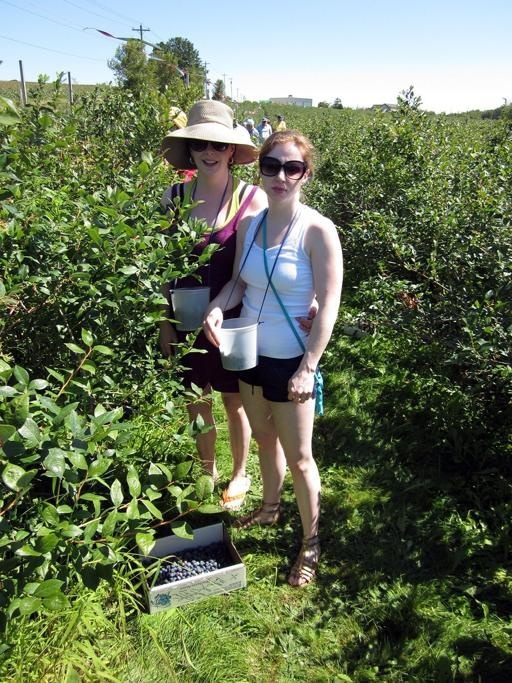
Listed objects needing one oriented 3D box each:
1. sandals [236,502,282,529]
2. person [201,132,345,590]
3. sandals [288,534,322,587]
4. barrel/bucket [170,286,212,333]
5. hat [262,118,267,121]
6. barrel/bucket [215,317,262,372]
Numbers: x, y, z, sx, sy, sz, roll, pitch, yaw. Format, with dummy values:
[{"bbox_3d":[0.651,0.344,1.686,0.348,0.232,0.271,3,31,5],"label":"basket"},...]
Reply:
[{"bbox_3d":[0.015,0.901,2.677,0.291,0.108,0.092,-12,32,-1],"label":"sandals"},{"bbox_3d":[0.103,0.121,2.209,0.474,1.924,0.294,14,16,33],"label":"person"},{"bbox_3d":[0.225,0.996,2.362,0.096,0.107,0.263,-5,0,17],"label":"sandals"},{"bbox_3d":[-0.272,-0.141,2.373,0.213,0.171,0.209,1,2,0],"label":"barrel/bucket"},{"bbox_3d":[0.295,-7.413,17.448,0.179,0.078,0.253,1,8,2],"label":"hat"},{"bbox_3d":[-0.067,0.000,2.189,0.217,0.173,0.194,-14,19,-42],"label":"barrel/bucket"}]
